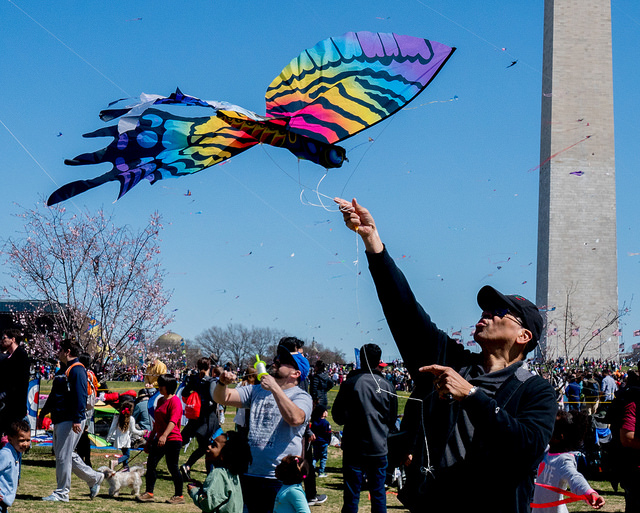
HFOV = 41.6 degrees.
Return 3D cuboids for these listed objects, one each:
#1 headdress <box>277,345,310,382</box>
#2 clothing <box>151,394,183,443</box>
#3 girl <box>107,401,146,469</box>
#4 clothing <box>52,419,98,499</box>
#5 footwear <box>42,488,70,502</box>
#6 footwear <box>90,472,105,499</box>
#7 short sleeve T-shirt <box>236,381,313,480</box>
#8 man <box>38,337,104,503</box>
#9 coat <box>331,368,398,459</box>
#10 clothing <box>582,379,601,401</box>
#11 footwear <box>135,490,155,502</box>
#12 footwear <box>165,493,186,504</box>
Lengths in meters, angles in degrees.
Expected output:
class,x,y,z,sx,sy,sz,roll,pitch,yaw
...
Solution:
class,x,y,z,sx,sy,sz,roll,pitch,yaw
headdress,-0.277,1.016,8.032,0.404,0.353,0.271,9,-13,-23
clothing,-2.040,2.133,11.318,0.358,0.592,0.570,7,-9,-36
girl,-3.059,2.894,13.413,0.652,1.057,0.470,3,0,-25
clothing,-3.189,2.593,10.811,0.378,0.973,0.597,-1,-17,27
footwear,-3.242,2.963,10.494,0.378,0.196,0.127,4,-10,6
footwear,-2.900,3.009,10.989,0.179,0.370,0.133,7,15,-2
short sleeve T-shirt,-0.437,1.578,7.651,0.858,0.759,0.562,-11,-37,28
man,-3.197,2.109,10.908,0.989,2.071,0.689,6,-16,-25
coat,0.460,1.791,9.757,0.826,0.918,0.627,4,-11,-25
clothing,6.041,2.959,18.746,0.381,0.488,0.291,10,-14,-40
footwear,-2.266,3.129,10.982,0.264,0.111,0.099,4,-9,1
footwear,-1.875,3.158,10.981,0.234,0.094,0.092,6,-5,-6
